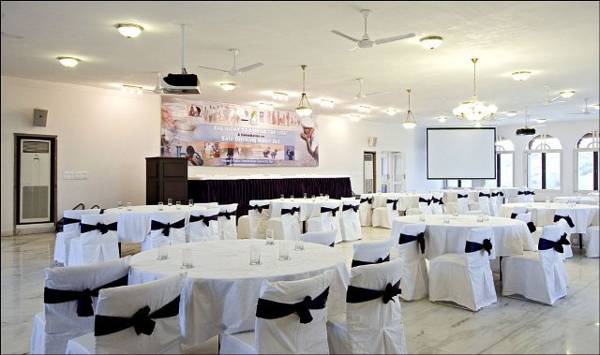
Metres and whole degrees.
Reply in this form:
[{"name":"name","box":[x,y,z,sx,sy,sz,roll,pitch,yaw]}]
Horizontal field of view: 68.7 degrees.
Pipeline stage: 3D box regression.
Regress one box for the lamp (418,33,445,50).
[{"name":"lamp","box":[2.723,-2.776,8.975,0.524,0.193,0.264,-1,0,-1]}]

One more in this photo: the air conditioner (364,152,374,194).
[{"name":"air conditioner","box":[2.921,-0.085,19.044,0.493,1.825,0.637,-3,10,-9]}]

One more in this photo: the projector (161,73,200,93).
[{"name":"projector","box":[-2.303,-1.849,8.503,0.585,0.227,0.407,1,1,2]}]

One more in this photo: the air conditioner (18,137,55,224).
[{"name":"air conditioner","box":[-7.028,0.090,11.632,0.980,2.379,0.242,1,2,3]}]

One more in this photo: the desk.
[{"name":"desk","box":[-0.579,0.188,14.918,6.224,1.195,1.186,-2,27,-37]}]

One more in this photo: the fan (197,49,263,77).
[{"name":"fan","box":[-1.480,-2.532,10.087,0.829,0.331,0.865,-2,7,-22]}]

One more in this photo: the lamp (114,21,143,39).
[{"name":"lamp","box":[-3.372,-2.884,8.639,0.565,0.204,0.431,-1,0,-12]}]

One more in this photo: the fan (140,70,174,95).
[{"name":"fan","box":[-3.471,-2.291,10.638,0.506,0.305,0.476,6,25,-1]}]

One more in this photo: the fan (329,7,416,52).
[{"name":"fan","box":[1.394,-2.794,8.626,1.312,0.474,1.504,-1,-1,-3]}]

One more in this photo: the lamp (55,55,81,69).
[{"name":"lamp","box":[-5.406,-2.658,10.198,0.497,0.186,0.690,-1,-1,-25]}]
